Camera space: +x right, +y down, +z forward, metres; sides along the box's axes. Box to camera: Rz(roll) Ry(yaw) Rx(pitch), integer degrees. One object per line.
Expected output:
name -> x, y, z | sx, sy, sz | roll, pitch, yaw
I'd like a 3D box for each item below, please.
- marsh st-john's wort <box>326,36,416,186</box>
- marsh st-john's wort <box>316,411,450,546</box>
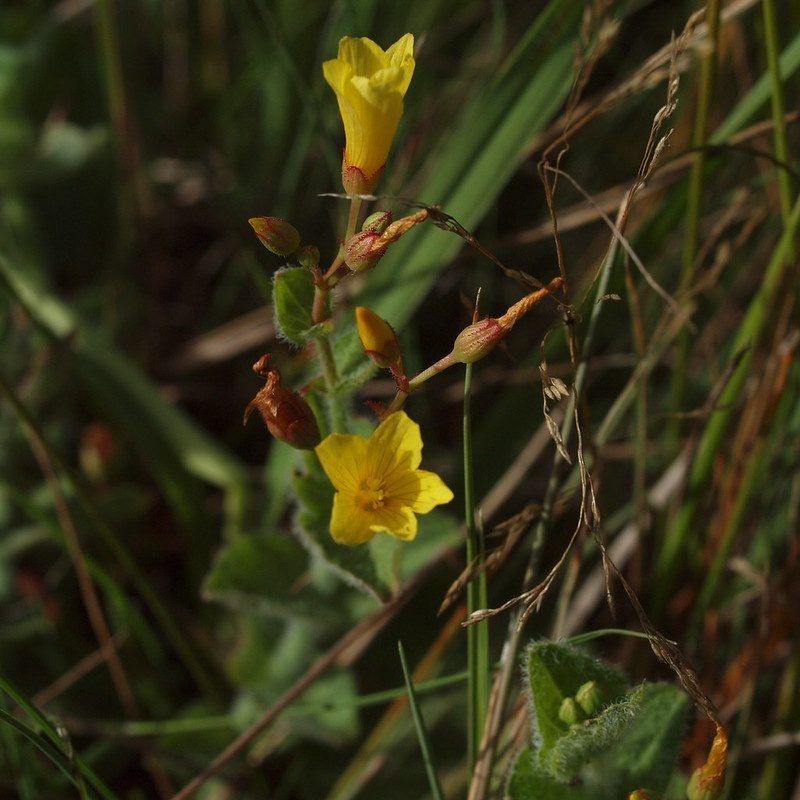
marsh st-john's wort -> -0.062, -0.541, 1.560 | 0.152, 0.243, 0.232 | 9, 41, -2
marsh st-john's wort -> -0.041, 0.152, 1.529 | 0.216, 0.135, 0.261 | -3, 38, -7
